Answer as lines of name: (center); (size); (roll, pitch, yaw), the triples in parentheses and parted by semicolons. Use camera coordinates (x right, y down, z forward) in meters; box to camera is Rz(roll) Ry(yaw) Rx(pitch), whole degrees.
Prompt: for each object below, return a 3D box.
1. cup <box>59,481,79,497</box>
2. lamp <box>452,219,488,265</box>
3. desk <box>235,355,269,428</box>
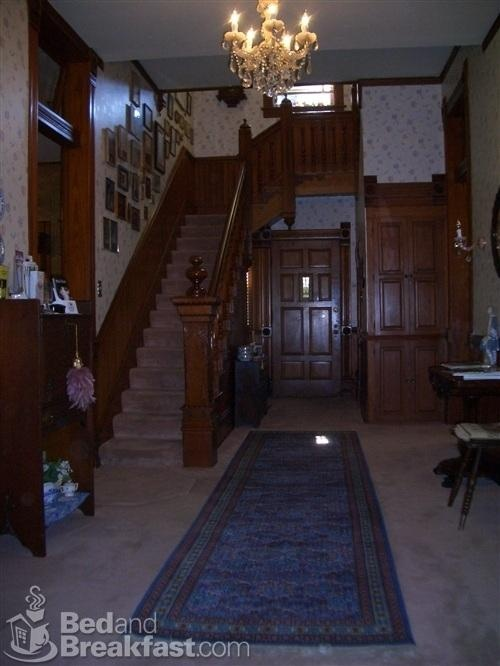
cup: (-1.008, 0.872, 2.797); (0.056, 0.066, 0.079); (-3, -6, 24)
lamp: (1.819, -0.777, 4.227); (0.156, 0.374, 0.101); (2, 36, 29)
desk: (0.044, 0.659, 5.726); (0.210, 0.767, 0.711); (2, 3, 12)
